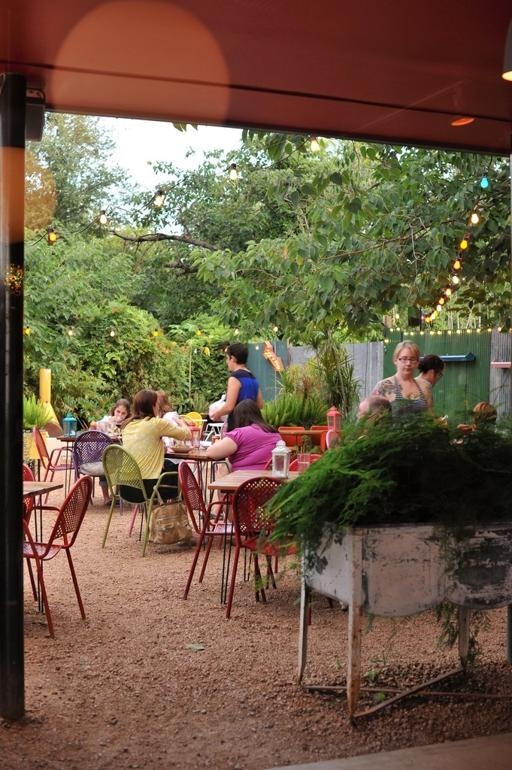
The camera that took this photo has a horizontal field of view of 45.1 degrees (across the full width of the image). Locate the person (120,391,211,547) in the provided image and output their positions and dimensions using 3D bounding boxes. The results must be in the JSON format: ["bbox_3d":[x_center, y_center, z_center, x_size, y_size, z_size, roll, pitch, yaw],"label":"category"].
[{"bbox_3d":[-0.967,0.719,5.786,0.626,1.363,0.816,3,3,13],"label":"person"}]

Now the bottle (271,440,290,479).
[{"bbox_3d":[0.151,0.458,3.782,0.100,0.175,0.264,1,-5,1],"label":"bottle"}]

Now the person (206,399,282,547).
[{"bbox_3d":[-0.071,0.516,4.803,0.487,0.787,0.512,6,4,34],"label":"person"}]
